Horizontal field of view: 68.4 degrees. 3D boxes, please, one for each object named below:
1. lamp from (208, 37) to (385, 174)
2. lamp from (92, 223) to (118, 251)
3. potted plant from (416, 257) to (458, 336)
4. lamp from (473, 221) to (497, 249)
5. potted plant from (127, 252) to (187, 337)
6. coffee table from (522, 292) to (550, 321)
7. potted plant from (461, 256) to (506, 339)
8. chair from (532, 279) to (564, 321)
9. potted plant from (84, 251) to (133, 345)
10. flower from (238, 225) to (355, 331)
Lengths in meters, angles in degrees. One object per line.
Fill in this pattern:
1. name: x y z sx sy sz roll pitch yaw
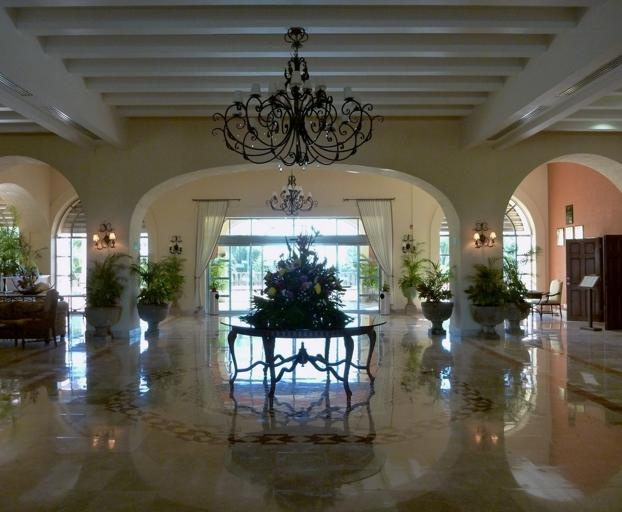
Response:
1. lamp: -0.164 -2.526 6.882 2.161 2.104 2.205 0 -1 -36
2. lamp: -4.233 -0.369 9.376 0.443 0.610 0.188 0 -6 -10
3. potted plant: 2.766 0.954 10.048 0.722 1.494 0.916 0 0 19
4. lamp: 3.640 -0.406 9.551 0.449 0.621 0.173 -1 -2 -6
5. potted plant: -3.565 0.874 10.931 0.949 1.654 2.977 0 0 -15
6. coffee table: 5.828 1.331 11.854 0.811 0.940 0.579 0 0 -37
7. potted plant: 3.577 0.867 9.361 0.756 1.586 0.484 0 0 7
8. chair: 6.879 1.322 13.197 0.790 1.240 0.842 0 -3 -5
9. potted plant: -4.048 0.796 9.180 0.862 1.720 0.628 0 0 -23
10. flower: -0.160 0.272 5.427 0.934 1.051 1.065 0 -1 -4
